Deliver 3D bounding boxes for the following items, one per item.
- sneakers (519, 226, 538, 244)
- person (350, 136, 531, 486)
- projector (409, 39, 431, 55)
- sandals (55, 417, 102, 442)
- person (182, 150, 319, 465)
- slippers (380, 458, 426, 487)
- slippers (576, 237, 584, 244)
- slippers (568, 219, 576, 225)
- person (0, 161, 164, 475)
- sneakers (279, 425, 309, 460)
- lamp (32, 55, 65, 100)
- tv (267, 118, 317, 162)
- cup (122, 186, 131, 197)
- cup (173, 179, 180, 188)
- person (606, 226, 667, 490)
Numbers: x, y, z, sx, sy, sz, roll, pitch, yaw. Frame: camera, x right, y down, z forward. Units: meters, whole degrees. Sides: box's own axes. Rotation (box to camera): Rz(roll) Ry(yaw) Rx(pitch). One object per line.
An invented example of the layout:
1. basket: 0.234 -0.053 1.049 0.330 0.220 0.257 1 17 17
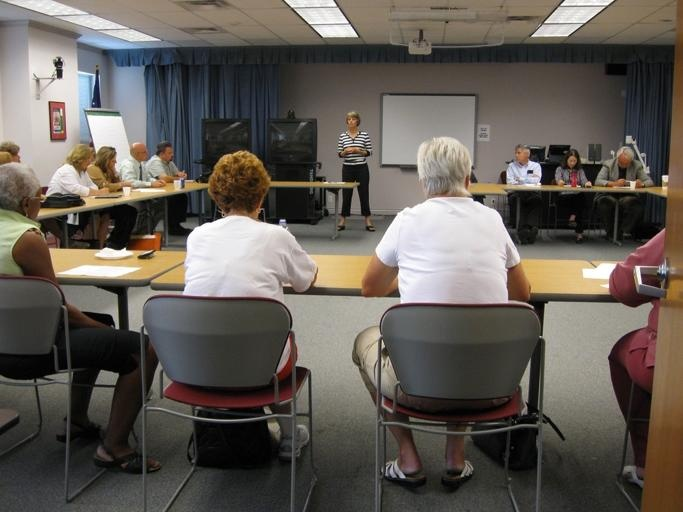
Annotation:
1. sneakers: 2.549 -0.313 8.093 0.197 0.123 0.321 -2 -22 3
2. person: 0.375 0.305 2.465 0.764 1.564 0.582 4 13 19
3. projector: 1.091 -2.930 8.218 0.349 0.147 0.373 2 15 5
4. sandals: -1.355 0.870 3.027 0.193 0.079 0.108 -4 9 -35
5. person: -0.381 0.308 2.581 0.613 1.477 0.521 -4 13 -18
6. slippers: 0.285 0.990 2.735 0.200 0.092 0.090 4 8 29
7. slippers: 3.284 -0.213 8.092 0.060 0.085 0.195 -1 2 19
8. slippers: 3.591 -0.533 9.158 0.097 0.134 0.318 -3 0 14
9. person: -1.212 0.305 2.713 0.677 1.429 0.602 -4 13 -15
10. sneakers: -0.240 0.928 2.918 0.089 0.118 0.276 1 0 3
11. lamp: -4.069 -2.533 8.380 0.321 0.575 0.611 2 14 7
12. tv: -0.733 -1.819 9.420 1.014 0.985 0.571 1 9 1
13. cup: -2.334 -0.705 6.423 0.088 0.110 0.099 0 3 -6
14. cup: -2.071 -0.912 7.422 0.093 0.119 0.102 0 5 0
15. person: 1.256 0.452 2.574 0.214 1.226 0.510 6 14 26
